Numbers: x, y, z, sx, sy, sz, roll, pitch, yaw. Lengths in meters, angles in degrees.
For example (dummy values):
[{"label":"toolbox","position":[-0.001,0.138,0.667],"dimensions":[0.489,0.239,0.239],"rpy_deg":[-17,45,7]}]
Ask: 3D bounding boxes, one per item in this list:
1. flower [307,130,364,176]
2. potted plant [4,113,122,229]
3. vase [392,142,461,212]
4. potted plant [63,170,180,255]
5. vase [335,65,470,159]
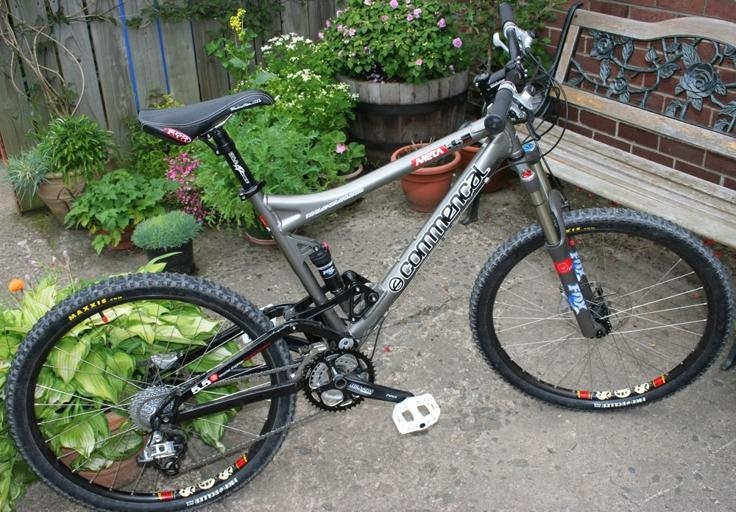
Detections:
[{"label":"flower","position":[-0.241,-0.809,4.680],"dimensions":[0.414,0.390,0.201],"rpy_deg":[-22,5,-41]},{"label":"potted plant","position":[-2.325,-0.698,4.841],"dimensions":[0.884,0.602,0.856],"rpy_deg":[-10,28,4]},{"label":"vase","position":[0.436,-0.601,4.564],"dimensions":[0.560,0.377,0.527],"rpy_deg":[-10,27,-10]},{"label":"potted plant","position":[-1.849,-0.234,4.290],"dimensions":[0.580,0.330,0.513],"rpy_deg":[-10,-10,32]},{"label":"vase","position":[0.298,-1.104,4.887],"dimensions":[0.881,0.600,0.844],"rpy_deg":[3,14,12]}]
